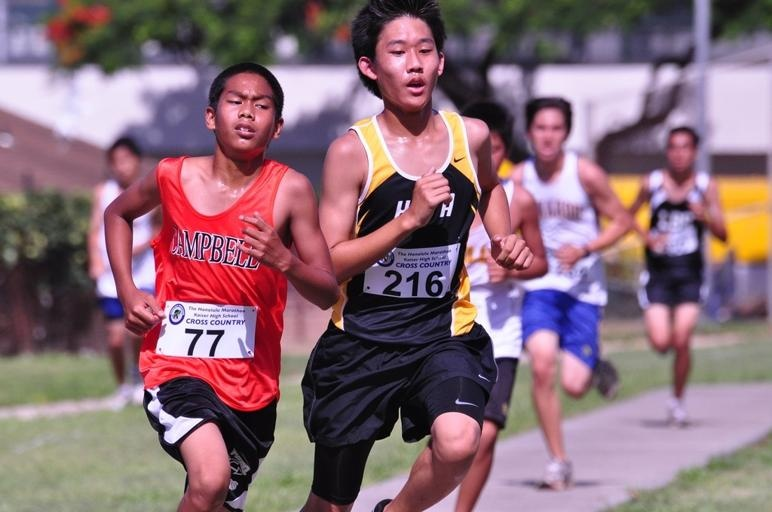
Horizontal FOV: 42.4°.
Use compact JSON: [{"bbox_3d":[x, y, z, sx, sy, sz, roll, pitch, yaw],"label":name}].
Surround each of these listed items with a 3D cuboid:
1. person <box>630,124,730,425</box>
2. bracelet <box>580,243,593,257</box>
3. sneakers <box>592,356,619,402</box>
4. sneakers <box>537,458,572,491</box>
[{"bbox_3d":[1.882,0.079,6.565,0.540,1.895,0.642,1,3,34],"label":"person"},{"bbox_3d":[1.432,-0.042,7.068,0.125,0.091,0.064,-3,3,-33],"label":"bracelet"},{"bbox_3d":[1.570,0.880,7.028,0.200,0.273,0.122,0,3,27],"label":"sneakers"},{"bbox_3d":[1.170,1.511,6.840,0.213,0.211,0.151,-3,2,3],"label":"sneakers"}]
